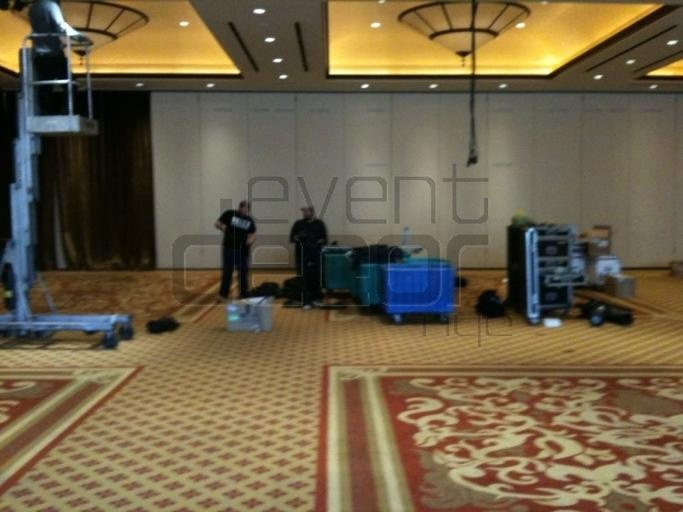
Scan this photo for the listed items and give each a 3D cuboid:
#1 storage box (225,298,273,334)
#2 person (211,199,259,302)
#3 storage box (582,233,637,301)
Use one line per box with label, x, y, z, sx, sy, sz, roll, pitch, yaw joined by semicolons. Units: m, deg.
storage box;-1.362;0.825;7.485;0.789;0.468;0.406;1;-11;-45
person;-1.775;-0.072;9.236;0.511;1.727;0.880;-7;10;-41
storage box;4.817;0.183;9.888;0.666;0.951;1.265;0;7;6
